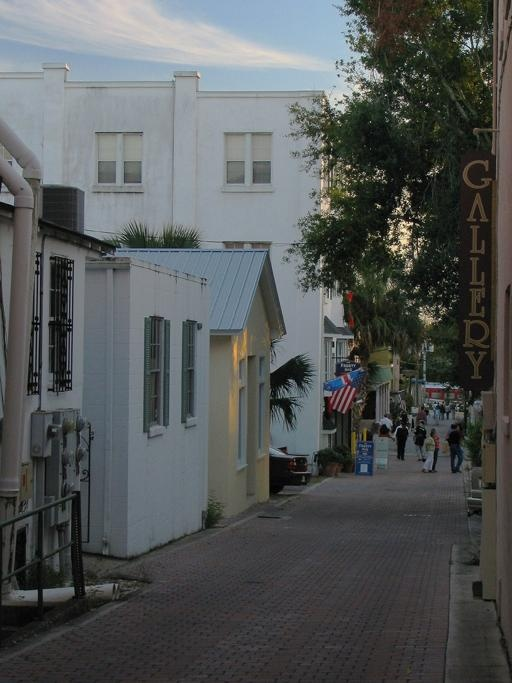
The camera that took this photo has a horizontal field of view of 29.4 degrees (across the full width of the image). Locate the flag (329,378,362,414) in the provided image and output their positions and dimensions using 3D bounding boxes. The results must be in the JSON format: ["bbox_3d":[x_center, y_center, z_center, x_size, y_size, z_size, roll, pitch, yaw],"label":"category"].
[{"bbox_3d":[2.702,1.739,30.574,0.822,0.899,0.689,3,-3,4],"label":"flag"}]

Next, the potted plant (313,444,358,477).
[{"bbox_3d":[2.630,4.009,32.947,0.714,0.924,2.576,2,-4,20],"label":"potted plant"}]
